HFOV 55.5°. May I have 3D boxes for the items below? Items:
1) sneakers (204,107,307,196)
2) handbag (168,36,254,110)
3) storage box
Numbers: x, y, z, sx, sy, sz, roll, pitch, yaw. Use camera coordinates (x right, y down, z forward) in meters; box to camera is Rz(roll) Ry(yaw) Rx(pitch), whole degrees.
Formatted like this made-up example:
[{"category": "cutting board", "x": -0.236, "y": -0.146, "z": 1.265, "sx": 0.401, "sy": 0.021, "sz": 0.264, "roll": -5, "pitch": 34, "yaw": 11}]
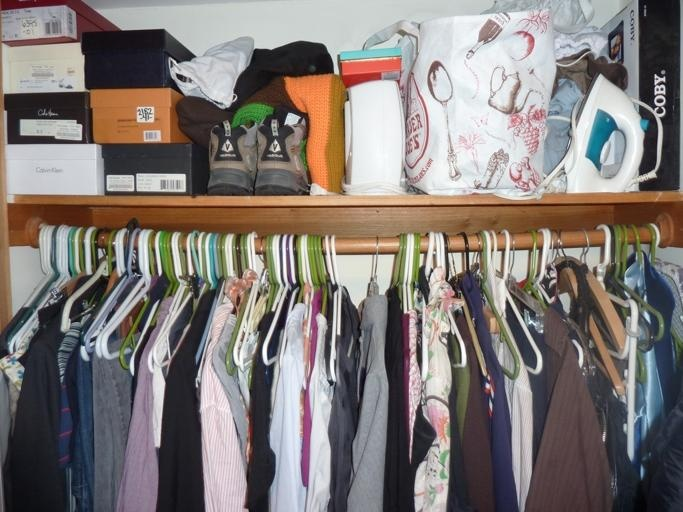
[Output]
[{"category": "sneakers", "x": -0.244, "y": -0.287, "z": 1.823, "sx": 0.181, "sy": 0.155, "sz": 0.296, "roll": 0, "pitch": 18, "yaw": -1}, {"category": "handbag", "x": -0.384, "y": -0.554, "z": 1.988, "sx": 0.212, "sy": 0.190, "sz": 0.075, "roll": -28, "pitch": 7, "yaw": -37}, {"category": "storage box", "x": -0.709, "y": -0.386, "z": 2.008, "sx": 0.481, "sy": 0.484, "sz": 0.566, "roll": -1, "pitch": -2, "yaw": -6}]
